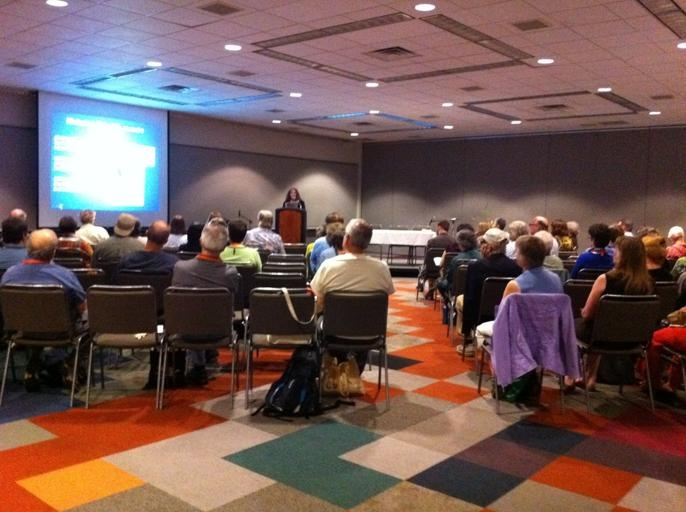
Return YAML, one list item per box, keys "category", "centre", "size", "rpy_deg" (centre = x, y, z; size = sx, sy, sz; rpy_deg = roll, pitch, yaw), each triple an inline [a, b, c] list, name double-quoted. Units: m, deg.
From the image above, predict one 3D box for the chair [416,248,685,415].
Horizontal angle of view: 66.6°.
- category: "chair"
  centre: [2.184, 0.599, 4.840]
  size: [1.616, 1.522, 0.708]
  rpy_deg: [-1, 4, -10]

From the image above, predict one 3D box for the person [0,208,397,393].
- category: "person"
  centre: [-1.514, 0.492, 5.319]
  size: [2.143, 1.441, 0.823]
  rpy_deg: [1, 3, 1]

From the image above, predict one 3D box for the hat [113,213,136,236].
- category: "hat"
  centre: [-2.688, -0.452, 6.449]
  size: [0.221, 0.179, 0.344]
  rpy_deg: [16, 30, -20]

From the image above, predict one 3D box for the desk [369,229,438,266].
- category: "desk"
  centre: [1.784, -0.391, 15.534]
  size: [1.271, 0.869, 1.763]
  rpy_deg: [0, -1, 21]
